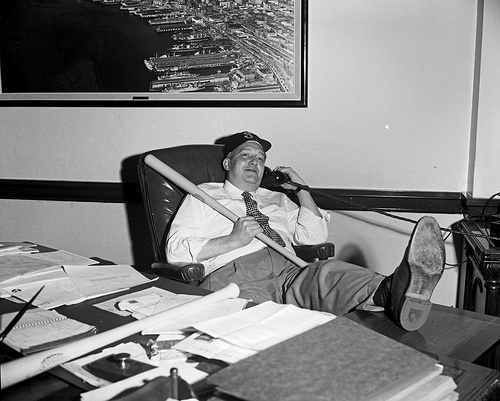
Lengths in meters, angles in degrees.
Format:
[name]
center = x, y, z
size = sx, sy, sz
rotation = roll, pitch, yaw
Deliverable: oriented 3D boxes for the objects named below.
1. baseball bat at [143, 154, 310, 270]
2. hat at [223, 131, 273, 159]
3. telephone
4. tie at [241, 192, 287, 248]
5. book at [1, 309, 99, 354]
[baseball bat]
center = -0.135, 0.061, 2.220
size = 1.025, 0.084, 0.087
rotation = 31, 51, -3
[hat]
center = 0.000, -0.321, 2.441
size = 0.210, 0.133, 0.291
rotation = -12, -4, 1
[telephone]
center = 0.730, 0.017, 2.375
size = 1.090, 0.142, 0.231
rotation = 11, -6, 12
[tie]
center = 0.014, 0.089, 2.304
size = 0.114, 0.043, 0.435
rotation = -16, 54, -40
[book]
center = -0.525, 0.341, 1.142
size = 0.190, 0.024, 0.159
rotation = 8, 7, 25
